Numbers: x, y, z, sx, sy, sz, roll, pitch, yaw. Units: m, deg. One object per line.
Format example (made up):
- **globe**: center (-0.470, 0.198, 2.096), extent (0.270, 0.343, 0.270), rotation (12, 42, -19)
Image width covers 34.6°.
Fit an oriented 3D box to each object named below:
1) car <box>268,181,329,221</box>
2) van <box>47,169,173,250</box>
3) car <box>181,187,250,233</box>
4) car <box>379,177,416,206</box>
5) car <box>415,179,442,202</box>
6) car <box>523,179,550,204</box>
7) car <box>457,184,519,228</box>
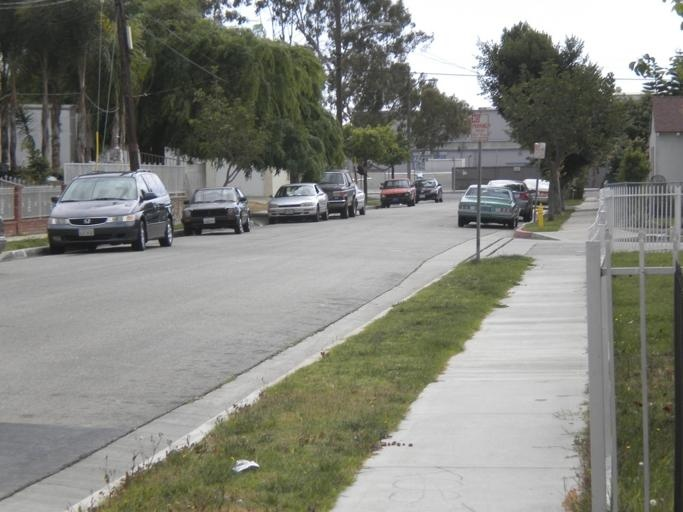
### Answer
- **car**: center (-1.618, -1.949, 41.241), extent (2.126, 1.441, 2.414), rotation (-3, 6, -3)
- **van**: center (-5.599, -1.038, 27.425), extent (2.075, 2.369, 4.972), rotation (-4, 0, 2)
- **car**: center (-3.890, -1.393, 34.853), extent (1.831, 1.666, 3.508), rotation (-3, 0, 6)
- **car**: center (3.008, -3.356, 58.882), extent (1.793, 1.442, 2.694), rotation (-3, 6, 1)
- **car**: center (5.279, -3.888, 66.451), extent (1.457, 1.341, 1.893), rotation (-2, 6, 5)
- **car**: center (9.591, -3.227, 53.925), extent (1.279, 1.241, 3.250), rotation (1, 13, 11)
- **car**: center (4.776, -1.571, 36.153), extent (1.913, 1.410, 2.742), rotation (-2, 6, 6)
